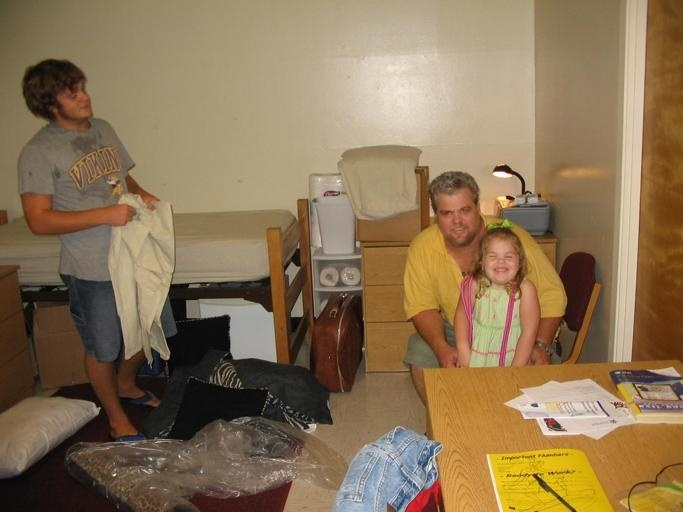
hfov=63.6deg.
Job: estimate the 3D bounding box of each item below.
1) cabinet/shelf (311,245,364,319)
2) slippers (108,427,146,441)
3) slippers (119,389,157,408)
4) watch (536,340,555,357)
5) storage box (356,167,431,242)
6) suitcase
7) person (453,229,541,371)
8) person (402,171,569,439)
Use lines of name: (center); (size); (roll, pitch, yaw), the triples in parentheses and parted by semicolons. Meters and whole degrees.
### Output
cabinet/shelf: (-0.055, 0.152, 4.251); (0.553, 0.567, 0.426); (-3, 6, -7)
slippers: (-1.165, 0.990, 3.006); (0.196, 0.085, 0.067); (1, 32, -6)
slippers: (-1.230, 0.866, 3.326); (0.193, 0.051, 0.094); (10, 29, -15)
watch: (0.990, 0.451, 2.691); (0.089, 0.035, 0.084); (24, -2, -16)
storage box: (0.382, -0.405, 3.846); (0.583, 0.584, 0.444); (-1, 16, 6)
suitcase: (-0.019, 0.589, 3.617); (0.219, 0.390, 0.515); (2, 20, 9)
person: (0.737, 0.395, 2.653); (0.375, 1.015, 0.344); (5, 14, 18)
person: (0.682, 0.272, 2.847); (0.895, 1.298, 0.952); (10, 27, 36)
